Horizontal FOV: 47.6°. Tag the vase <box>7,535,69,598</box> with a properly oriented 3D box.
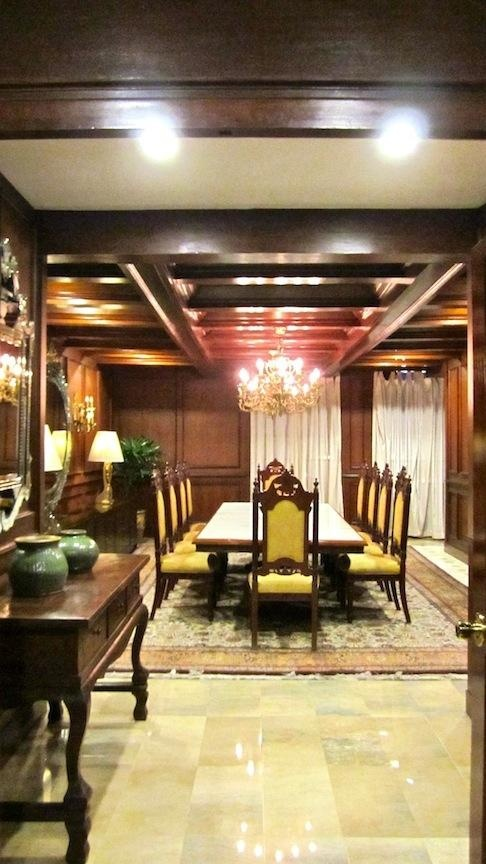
[{"bbox_3d":[-0.663,0.431,1.807,0.168,0.179,0.179,0,-7,-4],"label":"vase"}]

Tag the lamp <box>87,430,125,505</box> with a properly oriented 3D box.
[{"bbox_3d":[-1.526,0.396,6.114,0.356,0.845,1.468,1,-3,-14],"label":"lamp"}]

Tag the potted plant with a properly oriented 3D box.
[{"bbox_3d":[-1.397,0.697,7.236,0.617,1.266,0.582,5,-7,-6],"label":"potted plant"}]

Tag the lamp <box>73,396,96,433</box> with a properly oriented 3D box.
[{"bbox_3d":[-1.702,-0.186,5.897,0.146,0.524,0.411,0,0,11],"label":"lamp"}]

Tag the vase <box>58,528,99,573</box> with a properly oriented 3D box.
[{"bbox_3d":[-0.650,0.455,2.183,0.143,0.136,0.150,0,2,23],"label":"vase"}]

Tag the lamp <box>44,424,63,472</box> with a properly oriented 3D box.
[{"bbox_3d":[-1.334,0.120,3.911,0.101,0.331,0.702,1,-3,-18],"label":"lamp"}]

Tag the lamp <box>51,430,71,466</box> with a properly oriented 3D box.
[{"bbox_3d":[-1.433,0.104,4.400,0.177,0.261,0.202,2,-6,-29],"label":"lamp"}]

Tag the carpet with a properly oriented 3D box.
[{"bbox_3d":[0.627,1.391,4.177,2.564,0.069,2.168,0,-3,0],"label":"carpet"}]

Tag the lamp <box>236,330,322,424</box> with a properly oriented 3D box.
[{"bbox_3d":[0.394,-0.663,5.848,0.784,1.085,0.845,-1,-11,2],"label":"lamp"}]
